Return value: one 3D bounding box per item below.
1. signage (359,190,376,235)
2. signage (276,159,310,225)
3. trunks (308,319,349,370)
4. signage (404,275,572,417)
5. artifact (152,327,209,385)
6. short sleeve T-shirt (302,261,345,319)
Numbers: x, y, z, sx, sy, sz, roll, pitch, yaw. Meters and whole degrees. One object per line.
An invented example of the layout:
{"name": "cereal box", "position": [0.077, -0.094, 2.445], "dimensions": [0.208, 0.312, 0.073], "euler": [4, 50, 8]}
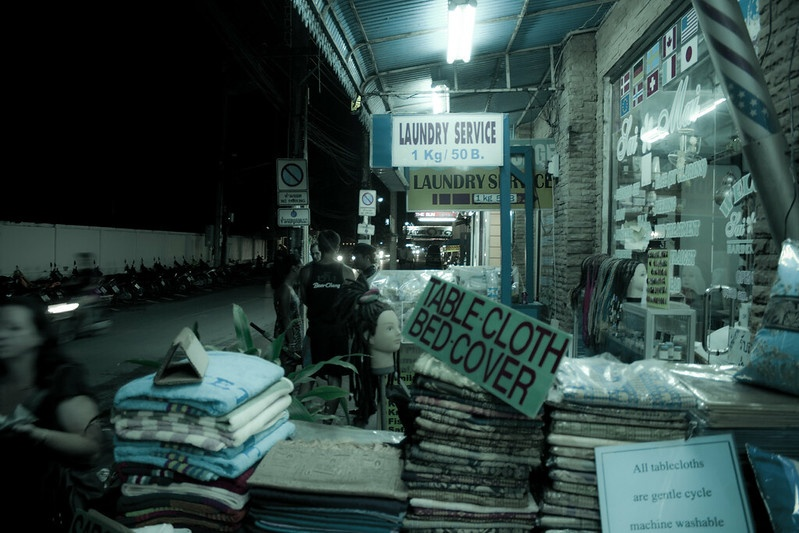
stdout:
{"name": "signage", "position": [-0.684, -1.142, 14.398], "dimensions": [0.373, 1.015, 0.062], "euler": [4, -10, -13]}
{"name": "signage", "position": [-1.550, -1.096, 9.980], "dimensions": [0.477, 1.092, 0.024], "euler": [-2, 24, -11]}
{"name": "trunks", "position": [-0.691, 0.778, 6.817], "dimensions": [0.421, 0.650, 0.348], "euler": [0, -18, 0]}
{"name": "signage", "position": [0.536, 0.517, 4.570], "dimensions": [1.034, 0.612, 0.046], "euler": [31, -9, 23]}
{"name": "artifact", "position": [-1.295, 0.522, 4.109], "dimensions": [0.312, 0.212, 0.524], "euler": [3, 6, -11]}
{"name": "short sleeve T-shirt", "position": [-0.771, 0.239, 7.073], "dimensions": [0.484, 0.744, 0.387], "euler": [1, -8, -1]}
